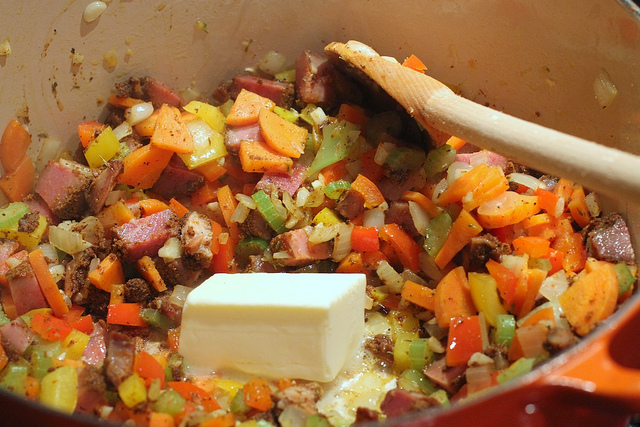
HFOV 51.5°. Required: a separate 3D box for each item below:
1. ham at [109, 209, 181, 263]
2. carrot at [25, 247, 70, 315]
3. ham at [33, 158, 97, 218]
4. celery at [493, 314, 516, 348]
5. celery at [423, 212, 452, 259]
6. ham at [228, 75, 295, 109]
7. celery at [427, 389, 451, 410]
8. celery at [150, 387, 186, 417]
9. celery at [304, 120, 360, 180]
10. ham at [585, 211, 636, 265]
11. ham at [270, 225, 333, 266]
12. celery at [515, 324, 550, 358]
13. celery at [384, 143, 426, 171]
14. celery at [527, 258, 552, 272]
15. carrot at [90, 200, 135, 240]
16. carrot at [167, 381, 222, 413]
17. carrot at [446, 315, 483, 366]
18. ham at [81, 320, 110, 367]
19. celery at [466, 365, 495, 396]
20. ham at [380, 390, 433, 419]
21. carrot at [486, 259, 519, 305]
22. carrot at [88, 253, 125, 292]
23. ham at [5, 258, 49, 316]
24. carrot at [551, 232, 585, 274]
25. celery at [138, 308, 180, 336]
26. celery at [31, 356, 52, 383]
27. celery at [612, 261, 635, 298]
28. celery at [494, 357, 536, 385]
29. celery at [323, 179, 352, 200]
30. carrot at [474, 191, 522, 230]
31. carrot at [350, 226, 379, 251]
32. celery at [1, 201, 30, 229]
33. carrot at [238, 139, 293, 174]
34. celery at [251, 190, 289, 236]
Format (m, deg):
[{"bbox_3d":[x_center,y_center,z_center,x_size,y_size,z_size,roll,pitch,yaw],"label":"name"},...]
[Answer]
[{"bbox_3d":[-0.937,0.115,3.590,0.369,0.170,0.230,-18,65,-4],"label":"ham"},{"bbox_3d":[-1.436,0.351,3.473,0.100,0.191,0.368,-29,67,-10],"label":"carrot"},{"bbox_3d":[-1.394,-0.159,3.649,0.279,0.180,0.304,36,72,18],"label":"ham"},{"bbox_3d":[0.898,0.565,3.223,0.087,0.095,0.163,10,66,9],"label":"celery"},{"bbox_3d":[0.628,0.109,3.509,0.183,0.353,0.037,11,52,7],"label":"celery"},{"bbox_3d":[-0.306,-0.730,3.952,0.440,0.166,0.168,10,107,9],"label":"ham"},{"bbox_3d":[0.562,0.864,3.134,0.103,0.041,0.115,4,37,7],"label":"celery"},{"bbox_3d":[-0.691,0.870,3.034,0.145,0.046,0.116,24,69,14],"label":"celery"},{"bbox_3d":[0.087,-0.377,3.724,0.273,0.195,0.320,-6,96,18],"label":"celery"},{"bbox_3d":[1.436,0.142,3.291,0.201,0.075,0.259,-24,73,5],"label":"ham"},{"bbox_3d":[-0.103,0.172,3.556,0.326,0.123,0.191,-19,65,-5],"label":"ham"},{"bbox_3d":[0.995,0.595,3.098,0.137,0.039,0.145,-9,80,34],"label":"celery"},{"bbox_3d":[0.466,-0.312,3.609,0.227,0.099,0.139,-17,65,-4],"label":"celery"},{"bbox_3d":[1.121,0.257,3.367,0.128,0.055,0.072,2,65,5],"label":"celery"},{"bbox_3d":[-1.111,0.030,3.537,0.197,0.063,0.202,-40,86,-4],"label":"carrot"},{"bbox_3d":[-0.604,0.868,3.206,0.182,0.139,0.038,32,105,5],"label":"carrot"},{"bbox_3d":[0.694,0.614,3.217,0.241,0.201,0.181,-4,26,37],"label":"carrot"},{"bbox_3d":[-1.147,0.666,3.423,0.116,0.137,0.269,-1,65,4],"label":"ham"},{"bbox_3d":[0.751,0.773,3.141,0.117,0.134,0.133,-12,34,2],"label":"celery"},{"bbox_3d":[0.399,0.865,3.054,0.238,0.077,0.118,-8,65,0],"label":"ham"},{"bbox_3d":[0.928,0.328,3.333,0.103,0.080,0.233,-21,66,-6],"label":"carrot"},{"bbox_3d":[-1.121,0.315,3.520,0.132,0.181,0.193,3,83,-8],"label":"carrot"},{"bbox_3d":[-1.521,0.391,3.418,0.140,0.075,0.299,-22,102,-18],"label":"ham"},{"bbox_3d":[1.294,0.204,3.451,0.136,0.149,0.192,-3,83,15],"label":"carrot"},{"bbox_3d":[-0.851,0.567,3.508,0.186,0.123,0.052,38,115,-17],"label":"celery"},{"bbox_3d":[-1.344,0.744,3.194,0.098,0.044,0.117,6,66,7],"label":"celery"},{"bbox_3d":[1.448,0.301,3.146,0.121,0.030,0.137,-9,97,-41],"label":"celery"},{"bbox_3d":[0.880,0.704,2.983,0.139,0.109,0.046,-28,108,-16],"label":"celery"},{"bbox_3d":[0.082,-0.140,3.606,0.120,0.029,0.092,-39,79,-3],"label":"celery"},{"bbox_3d":[0.933,-0.019,3.412,0.183,0.050,0.192,-16,63,4],"label":"carrot"},{"bbox_3d":[0.237,0.136,3.515,0.138,0.116,0.114,-1,54,9],"label":"carrot"},{"bbox_3d":[-1.634,-0.004,3.523,0.143,0.064,0.144,-21,66,-6],"label":"celery"},{"bbox_3d":[-0.305,-0.322,3.688,0.294,0.121,0.168,-2,65,3],"label":"carrot"},{"bbox_3d":[-0.277,-0.007,3.639,0.093,0.130,0.244,-29,66,-9],"label":"celery"}]
